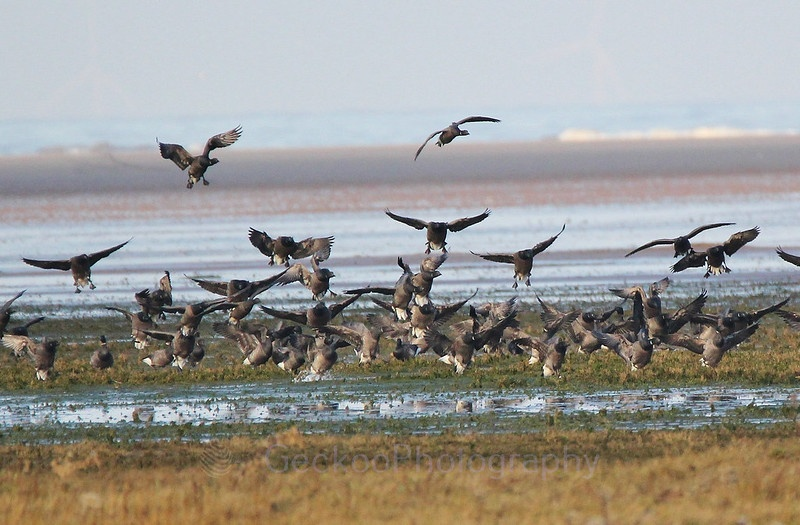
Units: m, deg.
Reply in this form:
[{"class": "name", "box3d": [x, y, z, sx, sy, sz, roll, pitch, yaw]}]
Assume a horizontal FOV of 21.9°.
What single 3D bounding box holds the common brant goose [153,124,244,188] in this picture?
[{"class": "common brant goose", "box3d": [-9.821, -5.075, 102.353, 3.350, 2.618, 1.162, -1, 8, 14]}]
